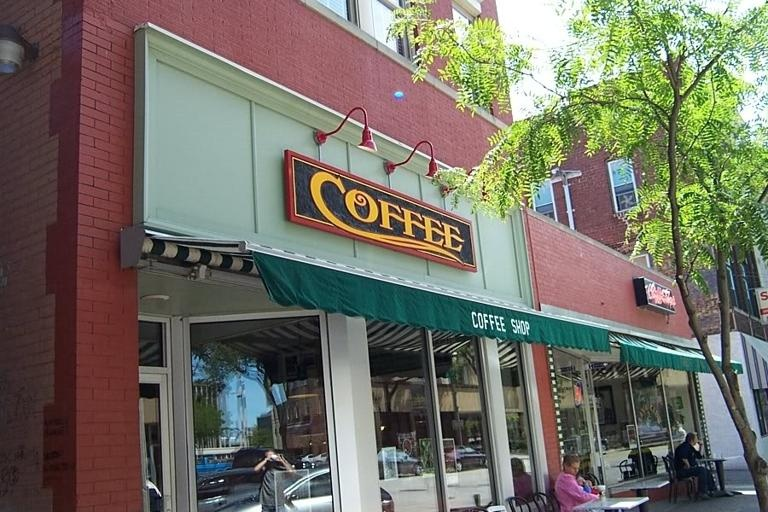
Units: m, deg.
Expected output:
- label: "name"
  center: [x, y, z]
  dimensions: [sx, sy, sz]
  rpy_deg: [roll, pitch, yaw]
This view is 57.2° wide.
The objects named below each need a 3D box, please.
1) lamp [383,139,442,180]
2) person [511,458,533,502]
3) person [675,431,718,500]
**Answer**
- label: "lamp"
  center: [0.528, -1.750, 12.541]
  dimensions: [1.033, 0.656, 0.314]
  rpy_deg: [8, 18, 25]
- label: "person"
  center: [2.739, 4.431, 14.077]
  dimensions: [0.493, 0.826, 0.196]
  rpy_deg: [-3, -4, -37]
- label: "person"
  center: [8.518, 5.732, 19.391]
  dimensions: [1.175, 1.647, 0.561]
  rpy_deg: [11, -27, -40]
